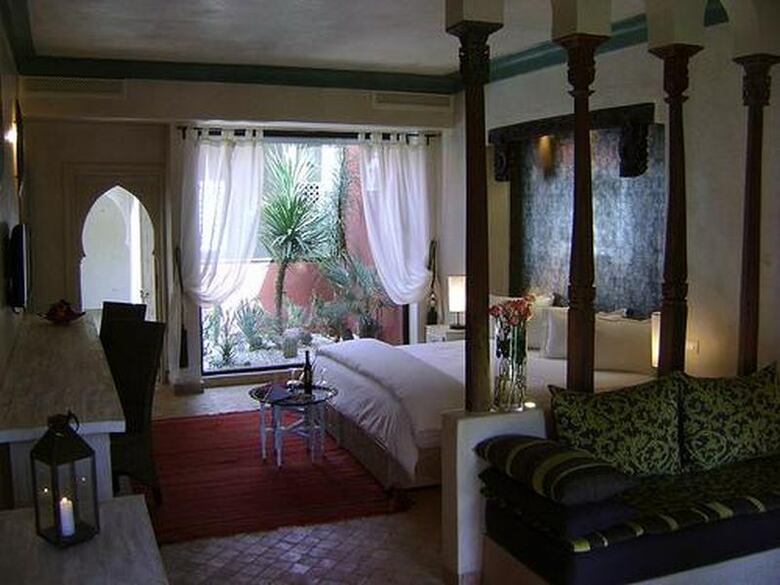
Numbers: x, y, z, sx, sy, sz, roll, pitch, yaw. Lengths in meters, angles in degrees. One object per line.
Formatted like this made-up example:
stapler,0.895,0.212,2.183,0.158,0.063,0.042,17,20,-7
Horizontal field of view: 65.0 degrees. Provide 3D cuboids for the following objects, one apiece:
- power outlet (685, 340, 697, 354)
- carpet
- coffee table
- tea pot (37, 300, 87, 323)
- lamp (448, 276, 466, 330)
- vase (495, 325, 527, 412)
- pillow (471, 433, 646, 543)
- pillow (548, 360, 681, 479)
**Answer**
power outlet,2.345,0.418,4.763,0.017,0.075,0.074,7,-4,-32
carpet,-1.107,1.418,5.188,1.725,0.073,2.368,-5,11,-19
coffee table,-0.883,1.100,5.326,0.607,0.507,0.648,-20,-2,9
tea pot,-2.788,0.177,5.311,0.274,0.172,0.379,8,3,-10
lamp,0.788,0.096,7.158,0.159,0.600,0.384,1,10,13
vase,0.721,0.446,3.675,0.176,0.485,0.168,0,9,9
pillow,0.788,0.966,3.234,0.369,0.254,0.664,-3,1,-18
pillow,1.312,0.759,3.570,0.535,0.424,0.195,1,-22,-9
